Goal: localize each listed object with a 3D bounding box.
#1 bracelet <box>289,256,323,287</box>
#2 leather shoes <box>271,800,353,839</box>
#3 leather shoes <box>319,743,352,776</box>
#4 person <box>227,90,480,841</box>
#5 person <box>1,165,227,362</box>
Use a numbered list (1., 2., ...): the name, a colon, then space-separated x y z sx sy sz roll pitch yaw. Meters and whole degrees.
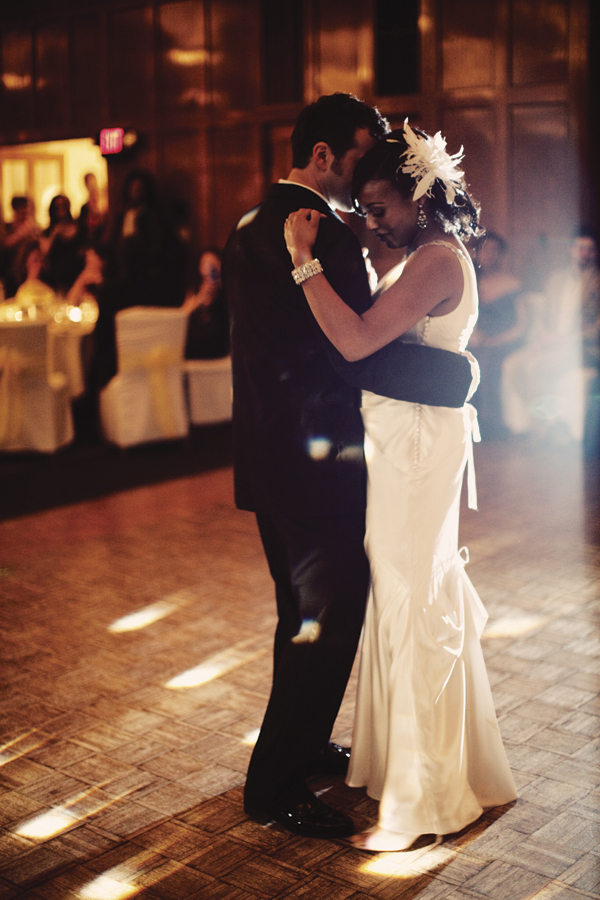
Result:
1. bracelet: 0.011 -0.336 1.685 0.055 0.026 0.041 -22 17 27
2. leather shoes: 0.030 0.783 1.919 0.131 0.045 0.072 10 9 15
3. leather shoes: 0.086 0.784 2.228 0.054 0.117 0.043 11 -29 -1
4. person: 0.040 0.145 1.886 0.374 1.388 0.213 -3 10 -6
5. person: -1.517 -1.416 6.929 1.031 1.039 3.266 -20 23 9
